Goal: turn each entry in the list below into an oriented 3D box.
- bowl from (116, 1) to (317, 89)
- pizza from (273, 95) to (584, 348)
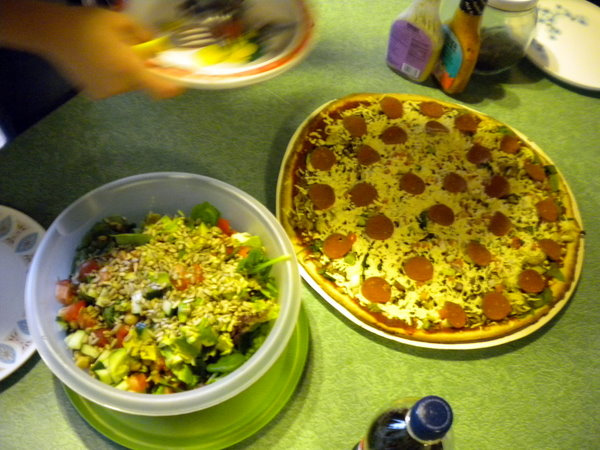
[{"bbox_3d":[-0.146,-0.431,1.269,0.442,0.076,0.301,-1,50,-3],"label":"bowl"},{"bbox_3d":[0.311,-0.049,1.199,0.726,0.107,0.681,1,59,3],"label":"pizza"}]
